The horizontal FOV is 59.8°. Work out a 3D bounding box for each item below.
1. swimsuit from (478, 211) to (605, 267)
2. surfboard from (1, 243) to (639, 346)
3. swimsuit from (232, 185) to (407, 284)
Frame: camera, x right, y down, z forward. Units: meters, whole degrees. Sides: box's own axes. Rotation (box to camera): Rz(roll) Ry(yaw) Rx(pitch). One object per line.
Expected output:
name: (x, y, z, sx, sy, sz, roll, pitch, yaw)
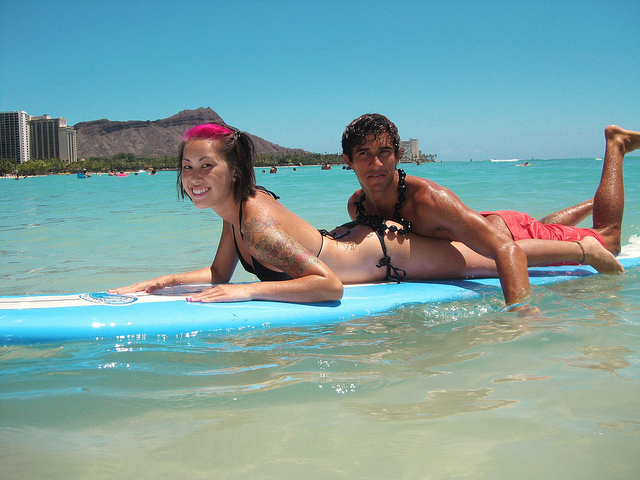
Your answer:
swimsuit: (1.737, -0.006, 4.229, 0.982, 0.235, 0.469, 4, -5, -6)
surfboard: (0.138, 0.334, 3.347, 3.380, 0.163, 0.600, -1, 2, -24)
swimsuit: (0.079, -0.024, 3.264, 1.462, 0.500, 0.391, 5, 10, 20)
